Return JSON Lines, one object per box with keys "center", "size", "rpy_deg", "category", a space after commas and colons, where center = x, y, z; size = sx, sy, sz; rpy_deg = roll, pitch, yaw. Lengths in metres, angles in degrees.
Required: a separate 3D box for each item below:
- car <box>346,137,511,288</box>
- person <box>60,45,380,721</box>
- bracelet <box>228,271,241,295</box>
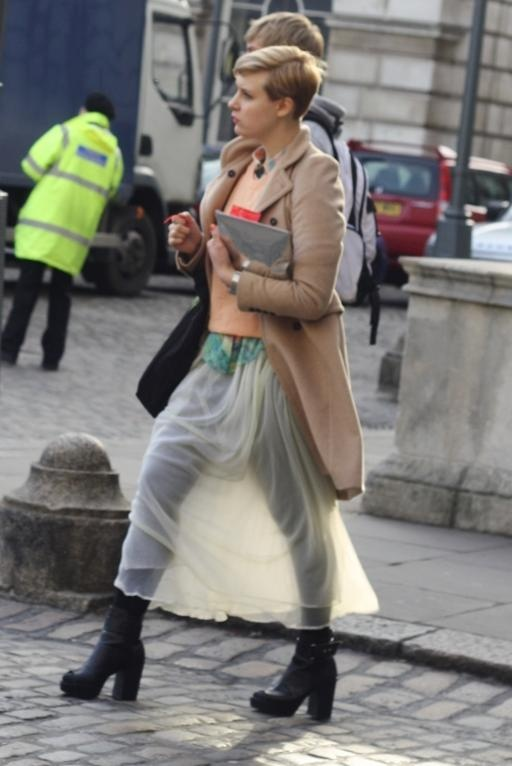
{"center": [2.436, -2.400, 18.872], "size": [2.323, 1.926, 3.880], "rpy_deg": [2, 9, 19], "category": "car"}
{"center": [-0.005, 0.023, 3.535], "size": [0.739, 1.734, 0.429], "rpy_deg": [7, 8, 5], "category": "person"}
{"center": [-0.053, -0.243, 3.418], "size": [0.025, 0.055, 0.062], "rpy_deg": [6, 7, -1], "category": "bracelet"}
